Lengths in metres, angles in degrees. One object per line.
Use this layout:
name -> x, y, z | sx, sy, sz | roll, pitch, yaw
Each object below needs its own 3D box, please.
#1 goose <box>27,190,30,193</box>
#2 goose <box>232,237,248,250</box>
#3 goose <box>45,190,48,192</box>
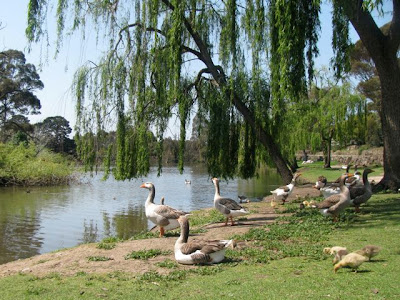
goose -> -14.694, 3.506, 40.453 | 0.141, 0.272, 0.374 | 4, 2, -24
goose -> 1.662, 3.873, 19.608 | 0.438, 0.234, 0.431 | 4, -2, -29
goose -> -13.564, 3.595, 41.926 | 0.193, 0.137, 0.221 | 0, -4, 2
